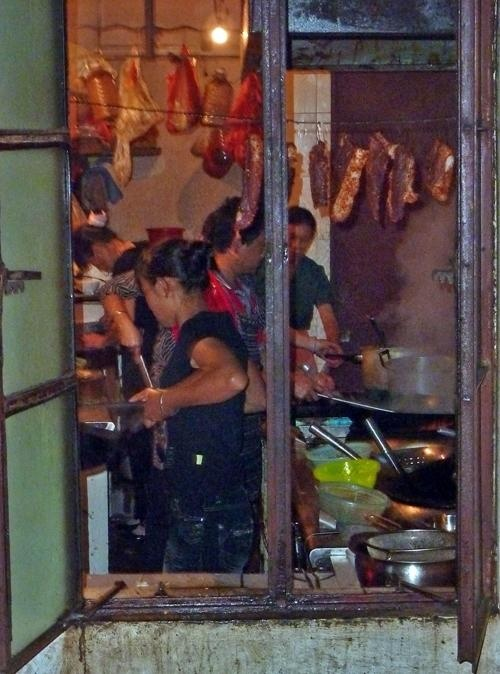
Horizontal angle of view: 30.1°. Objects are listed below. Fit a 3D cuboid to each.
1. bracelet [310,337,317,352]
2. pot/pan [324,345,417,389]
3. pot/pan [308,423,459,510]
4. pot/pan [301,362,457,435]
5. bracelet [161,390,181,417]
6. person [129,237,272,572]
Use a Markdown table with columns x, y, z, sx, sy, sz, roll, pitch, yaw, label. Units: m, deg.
| x | y | z | sx | sy | sz | roll | pitch | yaw | label |
| --- | --- | --- | --- | --- | --- | --- | --- | --- | --- |
| 0.286 | 0.034 | 4.169 | 0.047 | 0.046 | 0.047 | -2 | 18 | 1 | bracelet |
| 0.426 | 0.120 | 3.450 | 0.239 | 0.082 | 0.170 | -5 | -1 | 21 | pot/pan |
| 0.400 | 0.370 | 2.687 | 0.237 | 0.133 | 0.330 | -18 | 7 | -43 | pot/pan |
| 0.502 | 0.205 | 3.098 | 0.361 | 0.125 | 0.247 | -8 | -12 | 30 | pot/pan |
| -0.236 | 0.211 | 2.766 | 0.061 | 0.060 | 0.073 | 0 | 2 | -9 | bracelet |
| -0.149 | 0.225 | 2.809 | 0.406 | 1.016 | 0.636 | -3 | 8 | -7 | person |
